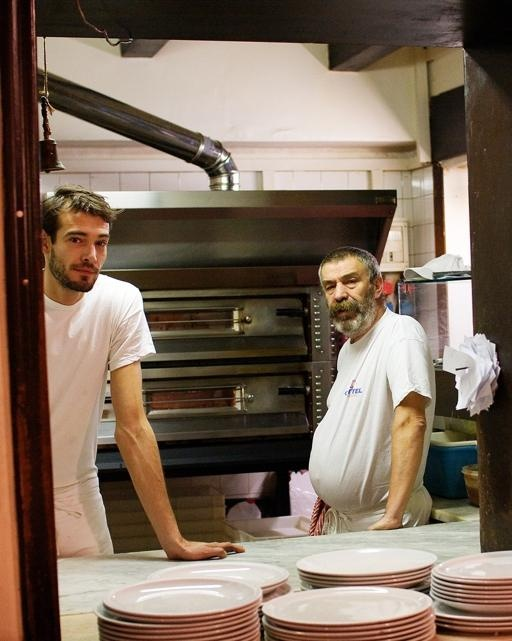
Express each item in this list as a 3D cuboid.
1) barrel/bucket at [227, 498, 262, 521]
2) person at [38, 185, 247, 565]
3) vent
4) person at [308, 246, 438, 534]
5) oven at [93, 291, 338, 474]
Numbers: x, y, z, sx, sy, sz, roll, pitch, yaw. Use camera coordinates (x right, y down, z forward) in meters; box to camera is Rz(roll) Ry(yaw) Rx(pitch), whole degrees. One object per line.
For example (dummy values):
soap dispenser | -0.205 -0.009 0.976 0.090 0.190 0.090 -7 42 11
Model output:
barrel/bucket | -0.070 1.124 4.329 0.254 0.071 0.197 1 5 14
person | -0.327 0.144 1.763 0.342 0.951 0.607 -3 2 -16
vent | -0.155 -0.400 3.981 1.475 0.365 0.897 -2 -4 -11
person | 0.353 0.230 2.190 0.383 0.932 0.650 -3 2 -4
oven | -0.190 0.280 3.951 1.727 0.999 0.913 -1 -1 -7
